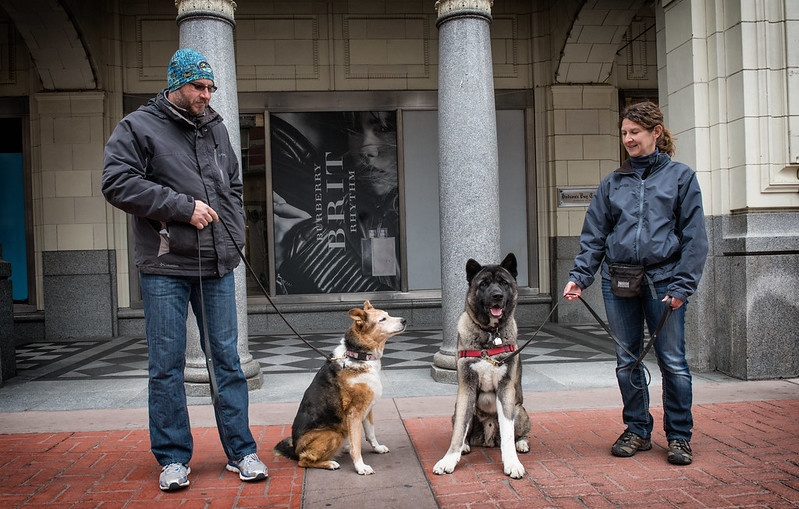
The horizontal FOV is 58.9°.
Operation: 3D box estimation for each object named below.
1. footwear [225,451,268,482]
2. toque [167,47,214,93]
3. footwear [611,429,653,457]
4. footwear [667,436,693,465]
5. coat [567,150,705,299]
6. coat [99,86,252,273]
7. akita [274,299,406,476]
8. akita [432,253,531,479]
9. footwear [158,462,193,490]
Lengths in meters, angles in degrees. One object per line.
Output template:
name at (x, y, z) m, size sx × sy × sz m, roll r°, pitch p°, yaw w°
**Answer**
footwear at (-1.464, 2.003, 6.772) m, size 0.389 × 0.171 × 0.202 m, roll 1°, pitch -2°, yaw 41°
toque at (-1.987, -1.729, 6.683) m, size 0.444 × 0.400 × 0.395 m, roll 3°, pitch 13°, yaw 25°
footwear at (2.309, 1.867, 7.033) m, size 0.434 × 0.197 × 0.181 m, roll 2°, pitch -5°, yaw -34°
footwear at (2.720, 1.892, 6.860) m, size 0.257 × 0.196 × 0.201 m, roll 1°, pitch 11°, yaw 12°
coat at (2.360, -0.298, 6.918) m, size 1.182 × 1.359 × 0.475 m, roll 3°, pitch 12°, yaw 20°
coat at (-2.114, -0.642, 6.632) m, size 1.214 × 1.702 × 0.506 m, roll -4°, pitch 11°, yaw -13°
akita at (-0.530, 1.290, 6.822) m, size 1.034 × 1.522 × 0.525 m, roll -3°, pitch 11°, yaw -10°
akita at (0.848, 1.029, 6.918) m, size 0.845 × 1.993 × 0.852 m, roll 1°, pitch 11°, yaw 10°
footwear at (-2.103, 2.056, 6.593) m, size 0.246 × 0.226 × 0.162 m, roll -7°, pitch 13°, yaw -29°
